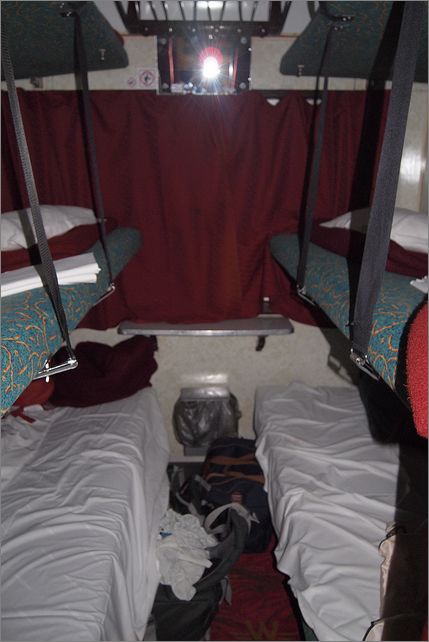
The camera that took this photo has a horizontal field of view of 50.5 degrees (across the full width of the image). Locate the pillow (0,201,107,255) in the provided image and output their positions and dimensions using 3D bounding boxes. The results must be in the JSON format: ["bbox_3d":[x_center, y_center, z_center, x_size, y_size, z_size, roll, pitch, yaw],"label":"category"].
[{"bbox_3d":[-0.539,-0.322,1.477,0.300,0.075,0.214,-22,56,-39],"label":"pillow"}]

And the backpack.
[{"bbox_3d":[0.125,0.854,2.319,0.324,0.146,0.498,0,71,9],"label":"backpack"}]
